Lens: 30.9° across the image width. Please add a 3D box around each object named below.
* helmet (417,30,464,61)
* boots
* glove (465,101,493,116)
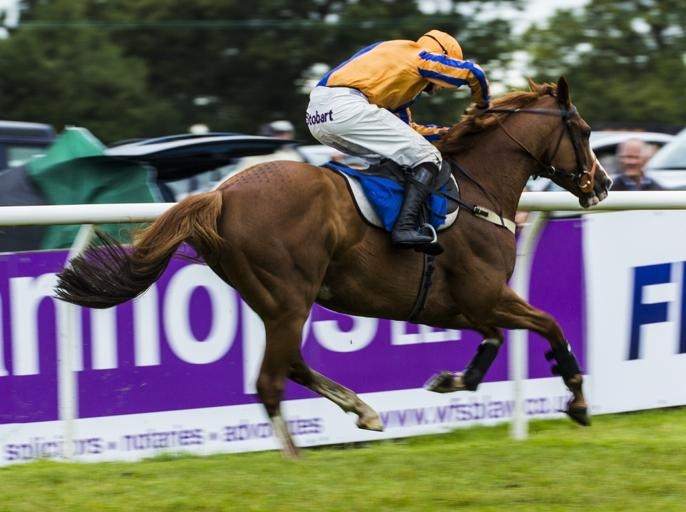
[{"bbox_3d":[0.552,-1.179,6.978,0.194,0.209,0.184,35,-53,-18],"label":"helmet"},{"bbox_3d":[0.411,-0.287,6.755,0.199,0.463,0.252,-2,2,23],"label":"boots"},{"bbox_3d":[0.783,-0.855,7.122,0.145,0.032,0.081,-7,20,0],"label":"glove"}]
